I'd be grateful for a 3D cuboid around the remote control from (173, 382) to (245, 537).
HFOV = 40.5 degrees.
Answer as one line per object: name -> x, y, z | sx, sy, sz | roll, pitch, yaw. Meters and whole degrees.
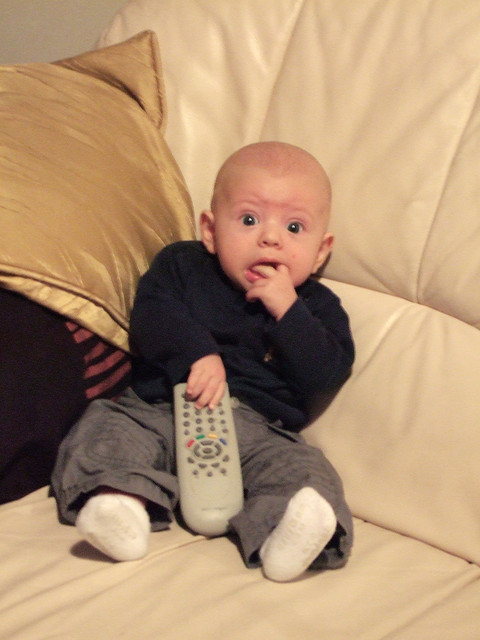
remote control -> -0.042, 0.164, 0.808 | 0.076, 0.031, 0.189 | 0, 48, -9
